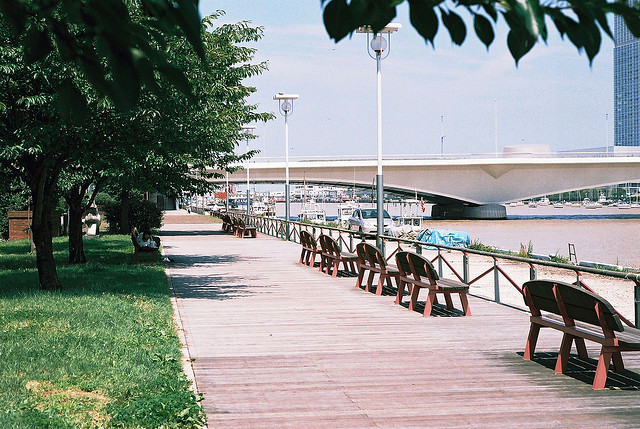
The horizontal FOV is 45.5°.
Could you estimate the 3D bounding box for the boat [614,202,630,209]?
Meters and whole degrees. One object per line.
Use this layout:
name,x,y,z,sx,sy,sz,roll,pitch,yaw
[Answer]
boat,59.930,-1.897,151.060,1.767,0.947,2.522,2,7,9

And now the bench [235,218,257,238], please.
bench,-3.619,0.635,37.100,0.682,0.755,2.733,0,2,-15

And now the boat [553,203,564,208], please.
boat,57.853,-2.333,184.358,2.207,0.791,1.731,-2,-1,30

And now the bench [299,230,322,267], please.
bench,-0.168,0.930,21.509,0.828,1.066,0.874,4,5,-7

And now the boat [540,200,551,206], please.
boat,63.834,-3.333,216.104,2.606,1.842,4.101,1,2,11

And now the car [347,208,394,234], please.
car,2.520,0.269,40.554,1.203,1.006,2.145,1,-5,-22

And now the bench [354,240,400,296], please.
bench,1.231,1.092,15.869,0.664,0.957,1.635,0,1,-17

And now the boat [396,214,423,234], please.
boat,6.200,0.967,52.488,1.033,1.424,1.899,-2,2,-38

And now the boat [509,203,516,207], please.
boat,51.719,-2.840,203.087,1.367,0.893,24.742,1,2,15

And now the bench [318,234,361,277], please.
bench,0.471,0.988,18.979,0.745,0.995,1.839,-1,2,-14

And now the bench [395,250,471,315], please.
bench,1.987,1.184,13.739,0.871,1.096,2.167,-1,1,-13
